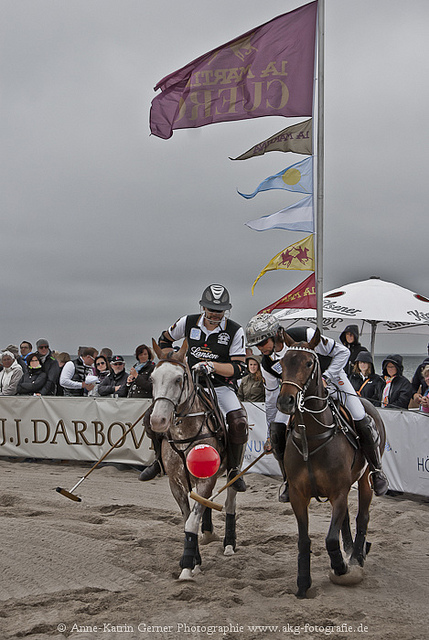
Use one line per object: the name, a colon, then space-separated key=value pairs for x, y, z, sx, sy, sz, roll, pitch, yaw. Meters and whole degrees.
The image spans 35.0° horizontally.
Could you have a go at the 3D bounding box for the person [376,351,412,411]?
person: x=2.743 y=0.977 z=10.580 sx=0.666 sy=0.882 sz=0.614 roll=3 pitch=-8 yaw=34

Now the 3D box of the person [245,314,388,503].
person: x=0.872 y=0.834 z=6.451 sx=0.728 sy=1.205 sz=1.849 roll=-19 pitch=-40 yaw=32

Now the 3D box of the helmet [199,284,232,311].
helmet: x=0.018 y=-0.222 z=6.751 sx=0.360 sy=0.211 sz=0.418 roll=5 pitch=1 yaw=-6

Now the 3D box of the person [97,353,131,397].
person: x=-1.883 y=1.172 z=12.999 sx=0.603 sy=1.008 sz=0.562 roll=1 pitch=-3 yaw=17

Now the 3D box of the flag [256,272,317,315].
flag: x=1.222 y=-0.438 z=12.163 sx=1.558 sy=0.386 sz=0.706 roll=-5 pitch=-7 yaw=30

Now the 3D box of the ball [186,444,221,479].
ball: x=-0.098 y=1.259 z=6.043 sx=0.324 sy=0.315 sz=0.281 roll=2 pitch=-5 yaw=-27

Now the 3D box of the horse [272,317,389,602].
horse: x=1.190 y=1.227 z=6.659 sx=0.935 sy=2.391 sz=3.306 roll=-1 pitch=-4 yaw=14

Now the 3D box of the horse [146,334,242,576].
horse: x=-0.150 y=1.506 z=6.949 sx=0.851 sy=1.974 sz=3.035 roll=-3 pitch=-14 yaw=11
